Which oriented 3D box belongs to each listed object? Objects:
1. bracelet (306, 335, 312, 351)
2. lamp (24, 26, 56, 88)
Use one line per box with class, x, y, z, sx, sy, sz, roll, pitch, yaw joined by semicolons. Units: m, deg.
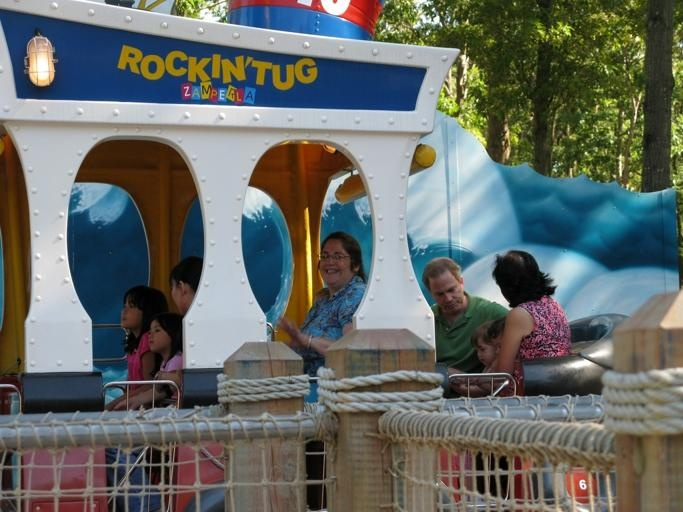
bracelet;-0.275;0.729;12.631;0.032;0.101;0.071;0;-2;-5
lamp;-2.311;-1.484;11.430;0.228;0.409;0.156;-3;4;-6
